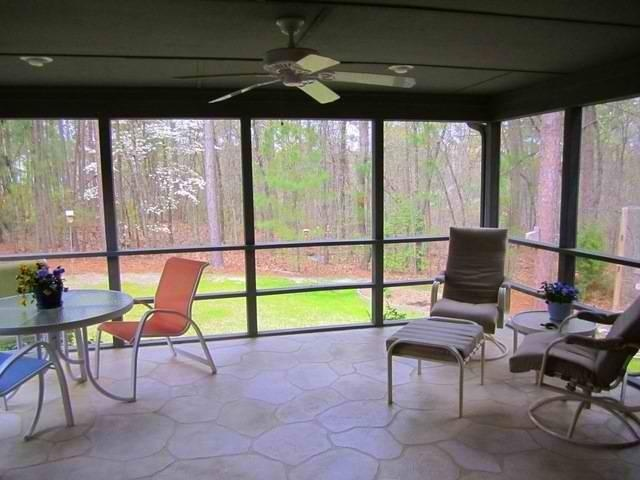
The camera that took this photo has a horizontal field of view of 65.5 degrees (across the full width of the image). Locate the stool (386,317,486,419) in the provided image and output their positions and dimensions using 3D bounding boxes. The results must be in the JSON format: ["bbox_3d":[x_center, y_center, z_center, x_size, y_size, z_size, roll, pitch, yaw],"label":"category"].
[{"bbox_3d":[1.085,1.116,4.566,0.834,0.550,0.917,4,9,41],"label":"stool"}]

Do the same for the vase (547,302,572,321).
[{"bbox_3d":[2.302,0.696,4.787,0.182,0.141,0.190,4,-9,-19],"label":"vase"}]

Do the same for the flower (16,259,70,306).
[{"bbox_3d":[-2.519,0.383,4.456,0.493,0.411,0.458,1,1,-3],"label":"flower"}]

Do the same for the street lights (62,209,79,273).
[{"bbox_3d":[-2.839,0.008,5.629,0.176,0.698,0.101,-5,15,-24],"label":"street lights"}]

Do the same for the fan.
[{"bbox_3d":[0.036,-1.432,4.159,1.278,0.515,1.557,0,10,-1],"label":"fan"}]

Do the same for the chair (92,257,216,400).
[{"bbox_3d":[-1.660,0.802,4.851,1.064,1.089,0.859,-7,10,-42],"label":"chair"}]

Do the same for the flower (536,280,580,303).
[{"bbox_3d":[2.332,0.519,4.872,0.273,0.160,0.278,1,-1,33],"label":"flower"}]

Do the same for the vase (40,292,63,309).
[{"bbox_3d":[-2.325,0.527,4.292,0.154,0.109,0.147,-5,-7,38],"label":"vase"}]
